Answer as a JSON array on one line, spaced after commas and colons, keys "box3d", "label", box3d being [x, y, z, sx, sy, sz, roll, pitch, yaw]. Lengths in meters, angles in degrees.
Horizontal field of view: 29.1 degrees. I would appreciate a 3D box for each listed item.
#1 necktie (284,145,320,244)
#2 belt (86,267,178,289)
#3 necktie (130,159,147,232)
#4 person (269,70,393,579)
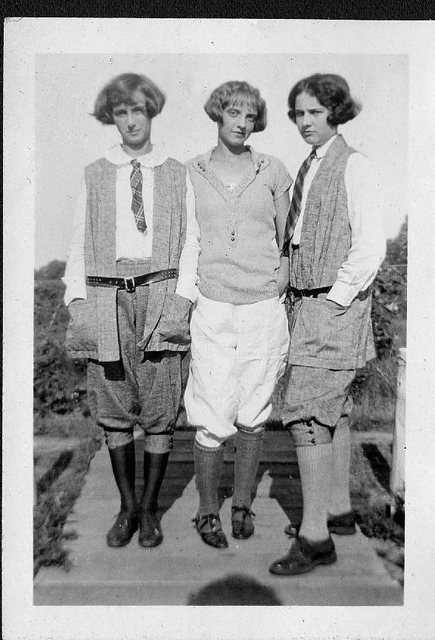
[{"box3d": [0.306, -0.478, 3.226, 0.024, 0.516, 0.068, 12, -1, 38], "label": "necktie"}, {"box3d": [-0.324, -0.162, 3.163, 0.344, 0.085, 0.045, 3, 11, 0], "label": "belt"}, {"box3d": [-0.302, -0.473, 3.172, 0.050, 0.260, 0.094, -1, 12, -19], "label": "necktie"}, {"box3d": [0.429, 0.010, 3.182, 0.413, 1.885, 0.428, 4, 11, 4], "label": "person"}]
